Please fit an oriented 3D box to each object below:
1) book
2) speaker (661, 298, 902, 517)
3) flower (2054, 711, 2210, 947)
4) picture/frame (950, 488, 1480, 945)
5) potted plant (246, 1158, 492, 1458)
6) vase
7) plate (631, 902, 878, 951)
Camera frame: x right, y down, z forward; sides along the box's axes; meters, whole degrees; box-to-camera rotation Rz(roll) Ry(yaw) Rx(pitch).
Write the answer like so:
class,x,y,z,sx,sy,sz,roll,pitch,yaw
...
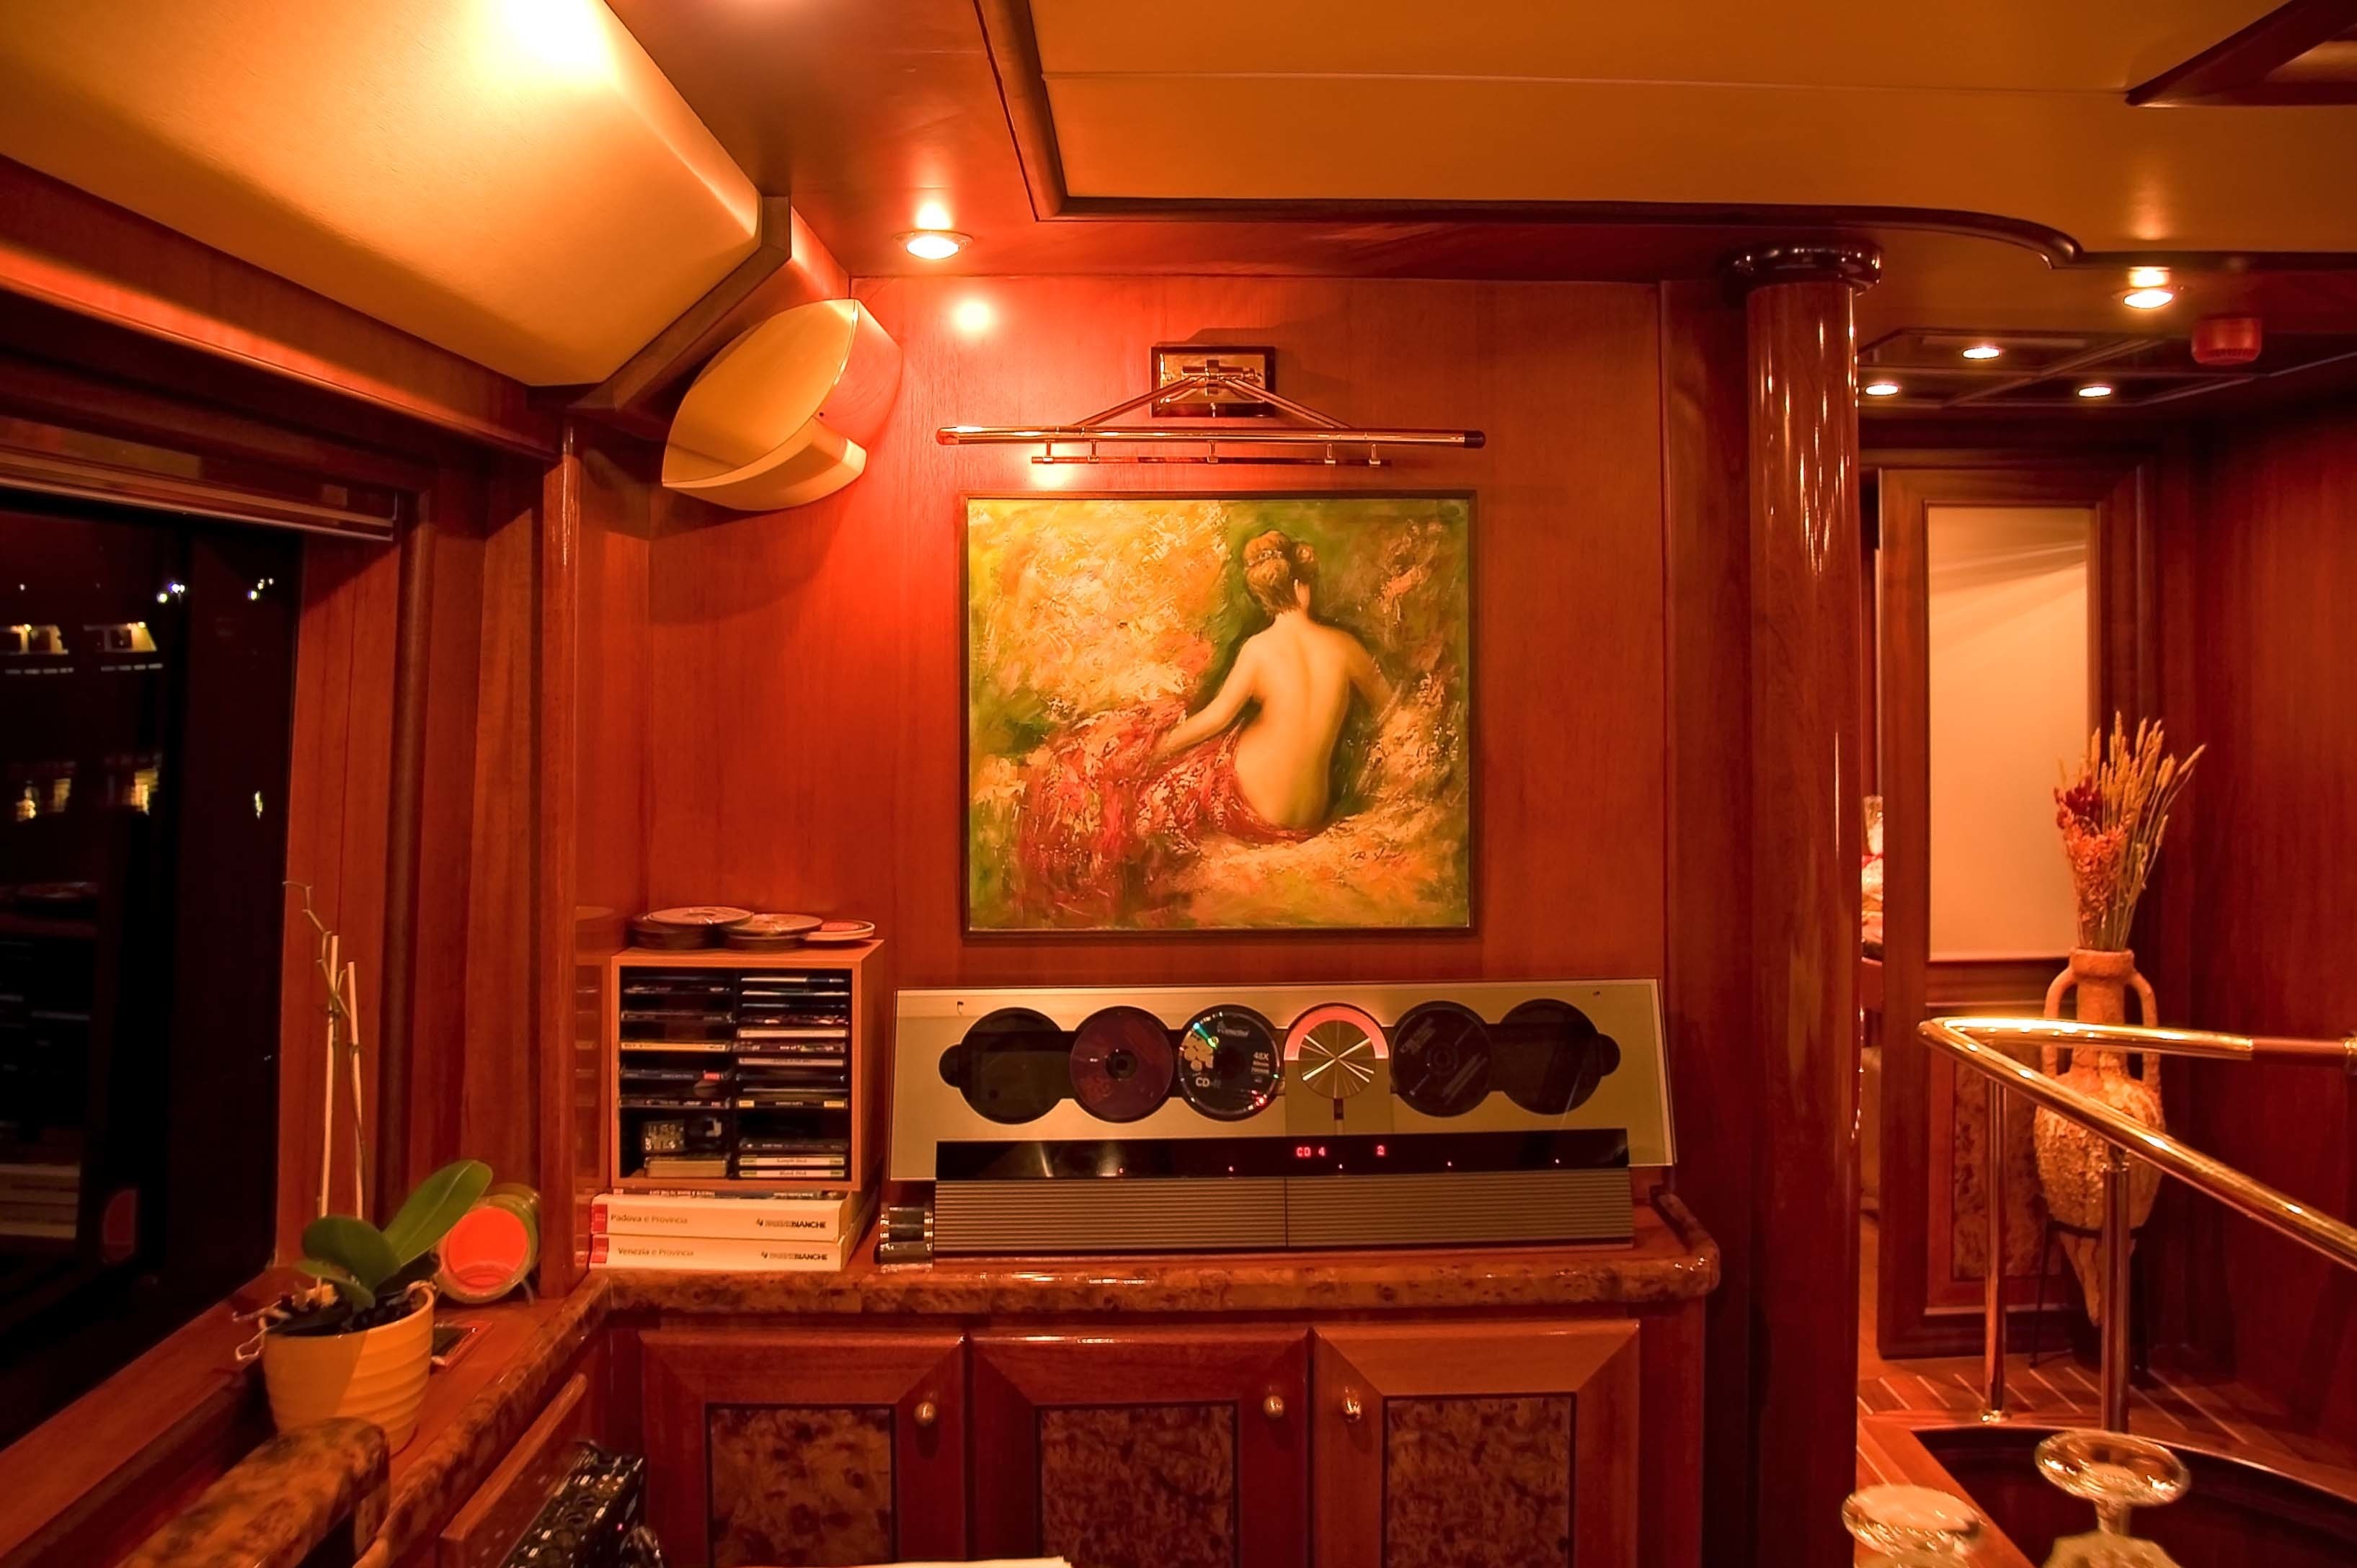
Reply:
class,x,y,z,sx,sy,sz,roll,pitch,yaw
book,-0.879,0.689,3.885,0.577,0.691,0.558,0,-2,-3
speaker,-0.813,-0.780,3.643,0.156,0.426,0.467,-16,-1,-13
flower,2.690,0.127,5.011,0.318,0.659,0.463,-3,-3,37
picture/frame,0.071,-0.180,3.926,0.958,0.807,0.037,0,0,0
potted plant,-1.413,0.900,3.093,0.294,0.494,0.483,-1,-9,-2
vase,2.534,1.005,4.908,0.335,1.107,0.651,-3,-2,29
plate,-0.918,0.303,3.847,0.528,0.097,0.247,-1,-2,-10
